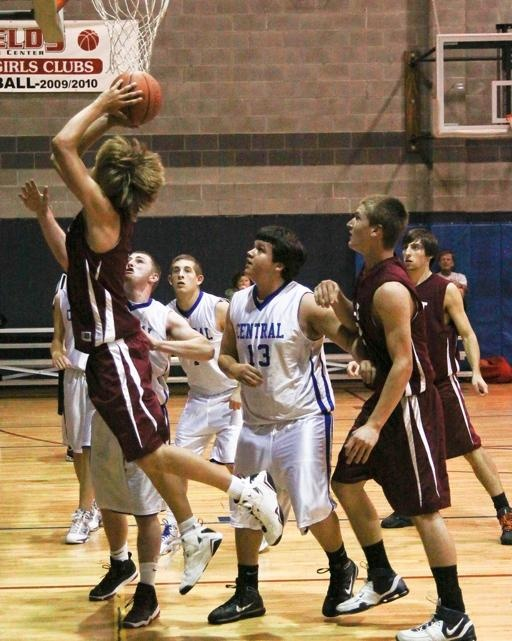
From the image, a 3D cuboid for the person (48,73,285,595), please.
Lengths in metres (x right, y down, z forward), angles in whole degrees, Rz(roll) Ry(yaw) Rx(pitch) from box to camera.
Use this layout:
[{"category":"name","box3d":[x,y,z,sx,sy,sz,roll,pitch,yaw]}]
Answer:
[{"category":"person","box3d":[-0.427,0.117,4.821,1.236,2.355,0.753,-1,0,-6]}]

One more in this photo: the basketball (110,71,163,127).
[{"category":"basketball","box3d":[-0.532,-1.024,4.756,0.215,0.249,0.216,-8,7,12]}]
